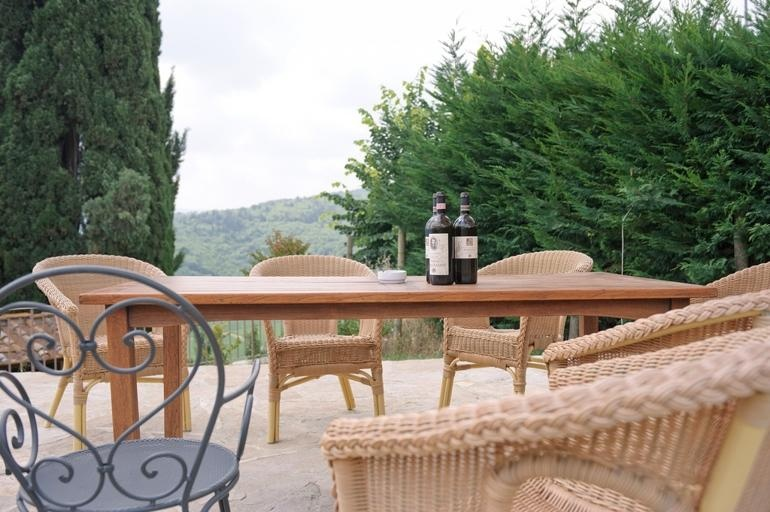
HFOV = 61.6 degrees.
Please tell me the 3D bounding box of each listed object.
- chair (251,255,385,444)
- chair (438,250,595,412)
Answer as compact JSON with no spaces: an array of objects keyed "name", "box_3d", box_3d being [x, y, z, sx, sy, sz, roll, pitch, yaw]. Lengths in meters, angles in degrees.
[{"name":"chair","box_3d":[-0.525,0.575,4.625,0.959,1.197,0.986,-2,1,-26]},{"name":"chair","box_3d":[0.922,0.540,4.623,1.040,1.114,0.972,-2,3,-15]}]
